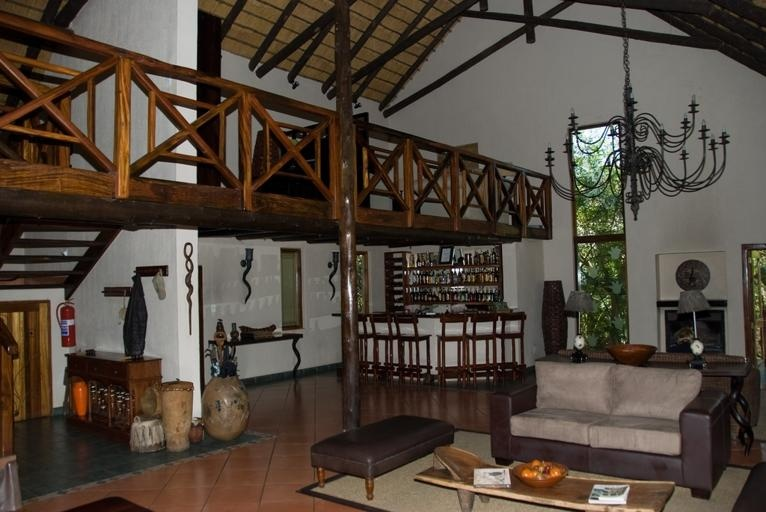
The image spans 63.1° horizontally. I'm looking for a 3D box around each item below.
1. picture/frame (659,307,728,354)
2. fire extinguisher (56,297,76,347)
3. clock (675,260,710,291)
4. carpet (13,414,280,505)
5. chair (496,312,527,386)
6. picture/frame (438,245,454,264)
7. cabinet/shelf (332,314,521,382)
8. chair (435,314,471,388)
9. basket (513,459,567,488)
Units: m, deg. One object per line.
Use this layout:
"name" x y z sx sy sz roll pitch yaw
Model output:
"picture/frame" 5.803 1.364 11.516 1.131 1.055 0.411 -1 -2 26
"fire extinguisher" -5.312 1.158 10.465 0.295 0.790 0.482 -3 4 -31
"clock" 6.137 0.372 12.339 0.626 0.599 0.161 1 4 27
"carpet" -4.218 2.739 8.655 2.157 0.020 1.969 8 6 -42
"chair" 2.484 1.760 12.288 0.637 1.303 0.665 0 -7 8
"picture/frame" 1.398 -0.020 13.742 0.376 0.444 0.042 -2 -13 37
"cabinet/shelf" 1.238 1.808 12.482 3.423 1.347 1.207 0 -4 -8
"chair" 1.338 1.778 11.993 0.584 1.386 0.586 -1 4 8
"basket" 1.639 2.277 6.553 0.318 0.120 0.318 2 -5 -40
